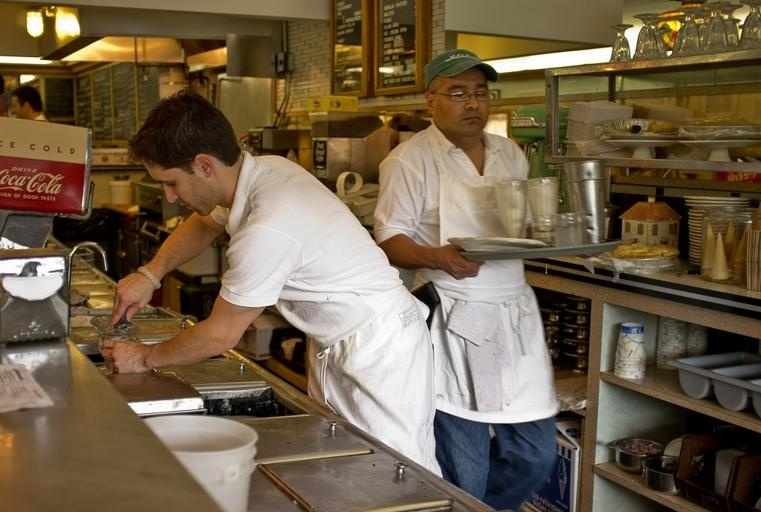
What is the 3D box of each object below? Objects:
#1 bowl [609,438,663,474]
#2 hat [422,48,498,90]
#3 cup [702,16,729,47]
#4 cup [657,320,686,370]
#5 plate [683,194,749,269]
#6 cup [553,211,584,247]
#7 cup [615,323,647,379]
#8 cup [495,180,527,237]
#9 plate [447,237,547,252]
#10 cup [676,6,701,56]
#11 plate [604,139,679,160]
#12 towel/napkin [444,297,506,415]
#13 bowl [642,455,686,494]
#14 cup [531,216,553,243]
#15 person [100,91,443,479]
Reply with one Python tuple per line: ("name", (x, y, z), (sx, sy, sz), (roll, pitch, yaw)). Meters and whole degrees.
("bowl", (1.177, 0.920, 2.721), (0.200, 0.086, 0.249), (-10, 7, -39))
("hat", (0.295, -0.750, 2.366), (0.163, 0.074, 0.229), (-3, 6, -26))
("cup", (1.365, -0.898, 2.375), (0.086, 0.145, 0.081), (-3, 7, 0))
("cup", (1.366, 0.404, 2.728), (0.129, 0.239, 0.051), (0, 8, 21))
("plate", (1.434, -0.124, 2.588), (0.329, 0.283, 0.305), (-1, 2, -28))
("cup", (0.647, -0.089, 2.071), (0.128, 0.115, 0.116), (-1, -4, 10))
("cup", (1.134, 0.423, 2.652), (0.126, 0.247, 0.119), (-3, 7, 0))
("cup", (0.486, -0.172, 2.162), (0.113, 0.212, 0.112), (-3, 7, 0))
("plate", (0.384, -0.039, 2.015), (0.560, 0.038, 0.432), (0, 2, 3))
("cup", (1.279, -0.923, 2.427), (0.102, 0.207, 0.127), (1, 7, 24))
("plate", (1.159, -0.470, 2.552), (0.144, 0.091, 0.301), (-7, 7, -38))
("towel/napkin", (0.371, 0.398, 2.350), (0.310, 0.389, 0.145), (0, 1, -11))
("bowl", (1.275, 0.954, 2.571), (0.217, 0.072, 0.175), (0, 12, 35))
("cup", (0.578, -0.088, 2.060), (0.092, 0.077, 0.089), (0, -2, 0))
("person", (-0.368, 0.117, 1.973), (1.075, 1.280, 0.585), (-2, 7, 5))
